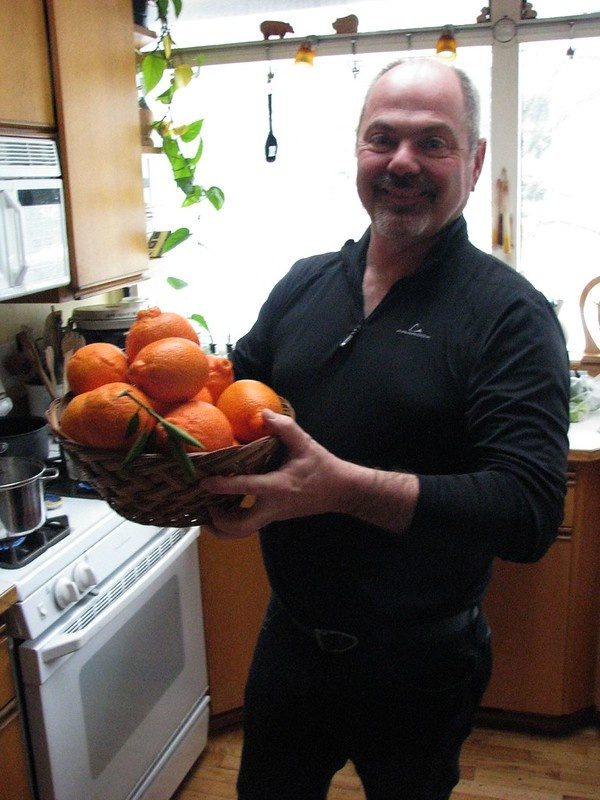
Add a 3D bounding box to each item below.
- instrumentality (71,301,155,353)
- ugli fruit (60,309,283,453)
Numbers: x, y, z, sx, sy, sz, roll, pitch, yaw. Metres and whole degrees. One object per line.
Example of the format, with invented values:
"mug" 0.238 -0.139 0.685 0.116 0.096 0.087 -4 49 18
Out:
"instrumentality" -0.494 -0.203 1.957 0.267 0.082 0.254 -2 10 -16
"ugli fruit" -0.156 -0.010 0.774 0.199 0.097 0.199 4 3 4
